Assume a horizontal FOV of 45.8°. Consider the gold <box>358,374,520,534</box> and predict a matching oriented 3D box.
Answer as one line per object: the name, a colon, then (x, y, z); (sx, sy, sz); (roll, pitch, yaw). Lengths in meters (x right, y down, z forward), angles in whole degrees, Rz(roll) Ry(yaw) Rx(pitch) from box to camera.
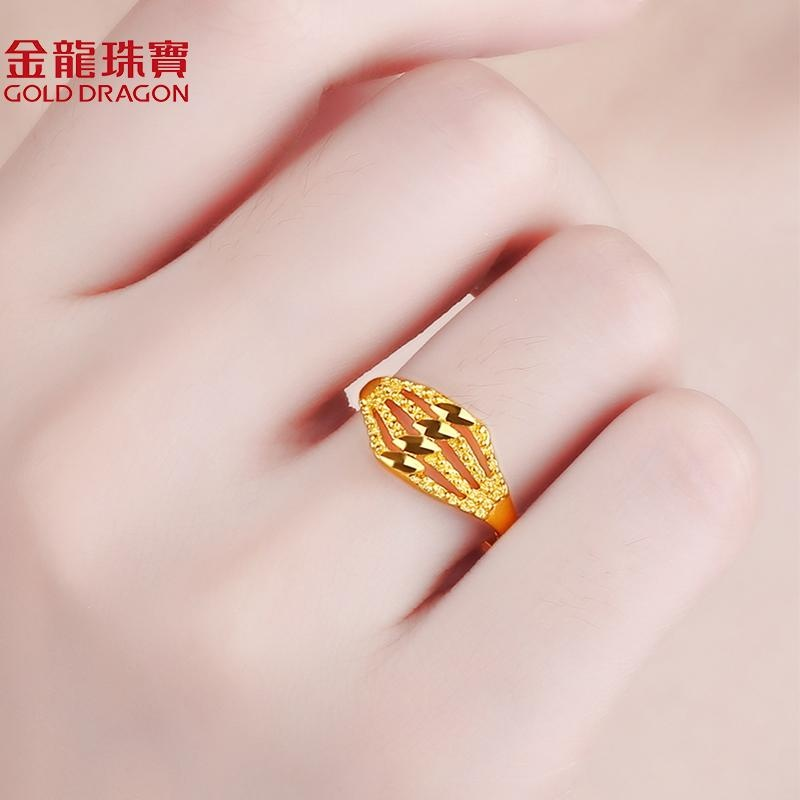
gold: (0.033, 0.044, 0.794); (0.076, 0.163, 0.039); (-51, 7, 8)
